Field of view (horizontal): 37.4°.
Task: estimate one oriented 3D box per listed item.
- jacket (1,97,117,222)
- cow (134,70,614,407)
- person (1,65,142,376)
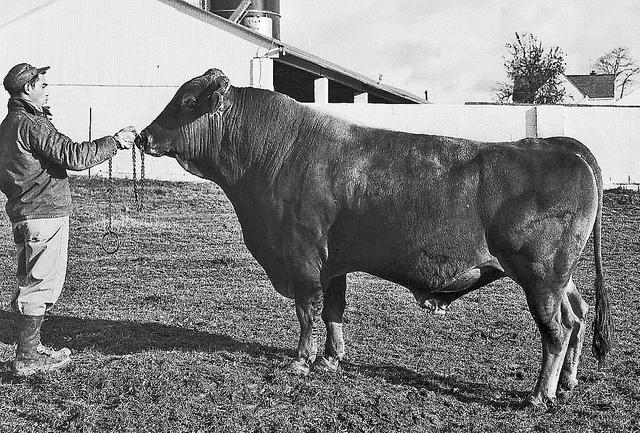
[{"bbox_3d":[-3.205,-0.702,11.333,1.183,1.505,0.468,-1,-1,-14],"label":"jacket"},{"bbox_3d":[0.634,0.253,12.023,5.830,3.998,1.900,7,14,7],"label":"cow"},{"bbox_3d":[-3.213,0.038,11.334,1.166,3.767,0.499,0,-1,-14],"label":"person"}]
